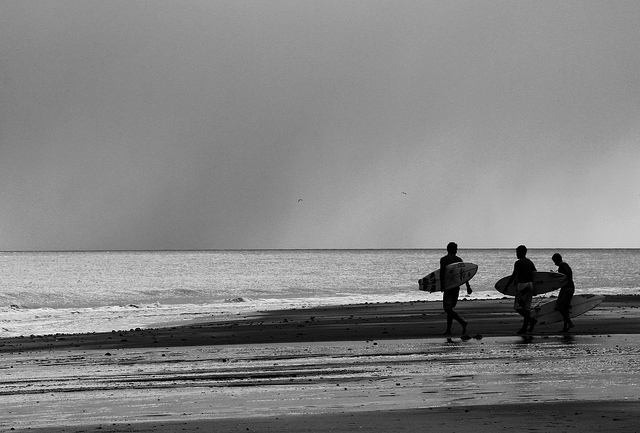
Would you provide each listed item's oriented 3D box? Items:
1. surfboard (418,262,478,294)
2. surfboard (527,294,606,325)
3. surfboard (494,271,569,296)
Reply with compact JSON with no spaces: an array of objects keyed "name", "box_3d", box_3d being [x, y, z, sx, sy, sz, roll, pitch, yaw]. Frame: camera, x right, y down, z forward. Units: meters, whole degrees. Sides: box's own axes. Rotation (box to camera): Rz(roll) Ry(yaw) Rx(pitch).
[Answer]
[{"name":"surfboard","box_3d":[3.972,1.813,30.052,2.321,0.736,0.530,-18,23,-27]},{"name":"surfboard","box_3d":[7.503,2.803,29.814,2.129,1.185,0.706,7,-16,-12]},{"name":"surfboard","box_3d":[6.250,1.986,28.941,2.355,0.734,0.330,-4,7,-21]}]
